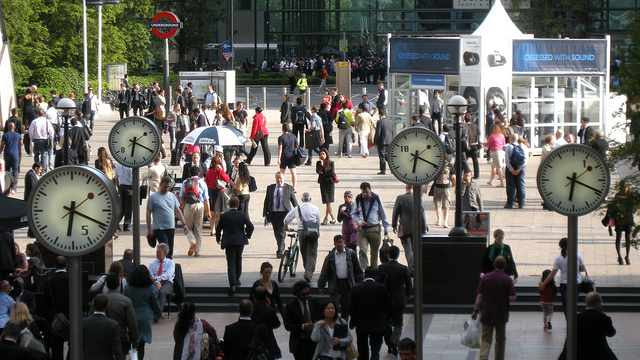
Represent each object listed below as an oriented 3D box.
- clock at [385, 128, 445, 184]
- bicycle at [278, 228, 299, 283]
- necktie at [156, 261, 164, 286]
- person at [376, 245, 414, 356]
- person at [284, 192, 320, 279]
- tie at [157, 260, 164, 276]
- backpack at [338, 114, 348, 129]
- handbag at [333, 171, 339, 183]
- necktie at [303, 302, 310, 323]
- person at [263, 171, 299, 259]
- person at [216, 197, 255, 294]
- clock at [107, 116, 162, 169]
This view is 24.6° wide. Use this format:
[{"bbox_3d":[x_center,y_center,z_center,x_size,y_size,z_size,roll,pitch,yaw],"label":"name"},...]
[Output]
[{"bbox_3d":[3.555,-0.876,53.994,2.273,2.085,0.347,0,0,26],"label":"clock"},{"bbox_3d":[-1.288,3.312,60.361,0.385,1.628,1.206,2,5,35],"label":"bicycle"},{"bbox_3d":[-6.261,3.464,57.693,0.263,0.603,0.121,-1,4,-12],"label":"necktie"},{"bbox_3d":[2.861,4.609,56.551,1.484,4.088,1.152,1,-1,-26],"label":"person"},{"bbox_3d":[-0.665,2.219,60.170,1.307,3.441,1.125,1,0,3],"label":"person"},{"bbox_3d":[-6.260,3.427,57.700,0.203,0.584,0.105,-1,4,-5],"label":"tie"},{"bbox_3d":[1.117,-2.926,72.743,0.753,0.886,0.478,1,-4,1],"label":"backpack"},{"bbox_3d":[0.702,-0.161,66.560,0.232,0.527,0.517,-11,5,2],"label":"handbag"},{"bbox_3d":[-0.520,4.910,55.029,0.214,0.687,0.163,-1,4,-8],"label":"necktie"},{"bbox_3d":[-1.695,1.432,61.206,1.501,3.431,1.129,0,-1,-7],"label":"person"},{"bbox_3d":[-3.484,2.585,59.830,1.435,3.791,1.111,-1,4,-4],"label":"person"},{"bbox_3d":[-7.225,-1.489,57.691,1.926,2.015,0.546,-1,4,-6],"label":"clock"}]
